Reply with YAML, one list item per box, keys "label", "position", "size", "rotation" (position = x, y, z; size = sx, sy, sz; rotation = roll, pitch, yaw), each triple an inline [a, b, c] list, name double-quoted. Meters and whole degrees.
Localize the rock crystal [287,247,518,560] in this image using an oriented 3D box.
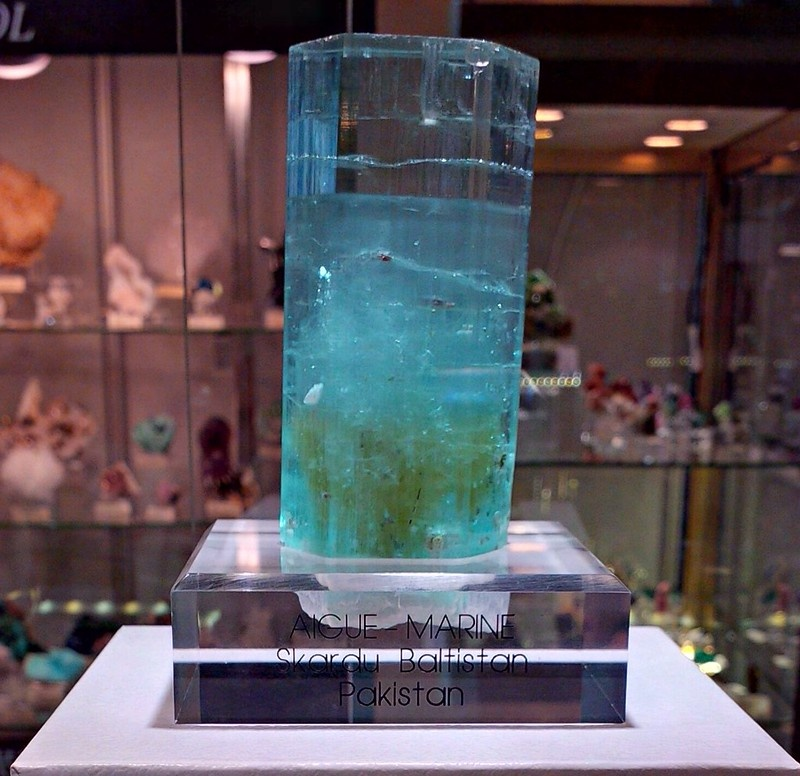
- label: "rock crystal"
  position: [-0.019, 0.020, 1.288]
  size: [0.291, 0.352, 0.305]
  rotation: [-1, -1, 5]
